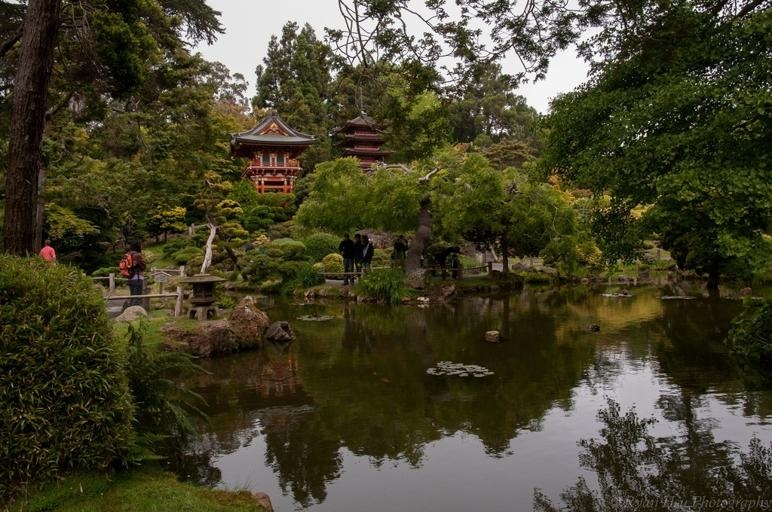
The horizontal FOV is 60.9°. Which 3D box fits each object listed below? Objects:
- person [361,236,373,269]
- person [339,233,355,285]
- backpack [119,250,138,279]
[{"bbox_3d":[-0.739,-0.156,26.226,0.389,1.519,1.201,1,-8,-2],"label":"person"},{"bbox_3d":[-1.563,0.103,26.729,0.538,2.101,1.525,1,-8,-3],"label":"person"},{"bbox_3d":[-7.004,0.219,17.883,0.361,0.750,0.699,6,-9,-33],"label":"backpack"}]
